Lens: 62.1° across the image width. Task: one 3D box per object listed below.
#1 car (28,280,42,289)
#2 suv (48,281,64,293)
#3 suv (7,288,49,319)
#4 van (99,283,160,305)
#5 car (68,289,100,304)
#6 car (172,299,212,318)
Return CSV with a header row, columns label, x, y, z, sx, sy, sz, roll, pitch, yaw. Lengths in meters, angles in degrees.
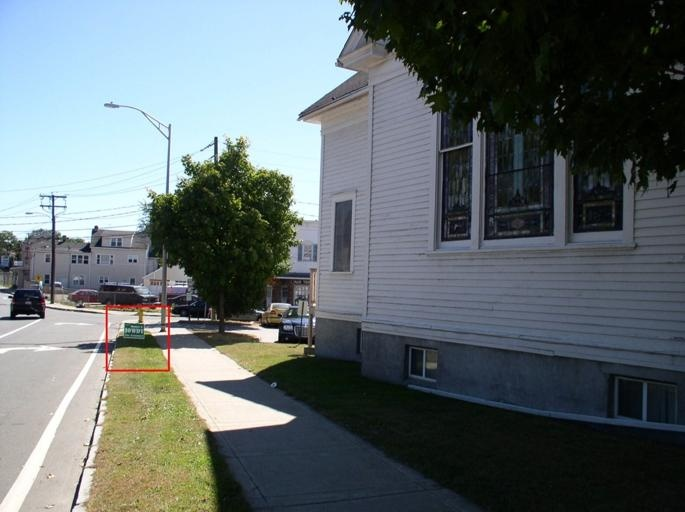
label,x,y,z,sx,sy,sz,roll,pitch,yaw
car,-38.996,3.562,72.210,1.414,1.034,1.486,1,-1,-1
suv,-36.916,3.930,73.475,1.758,1.775,3.082,3,-4,-30
suv,-19.942,3.000,36.033,1.773,1.833,2.553,4,-5,-33
van,-20.795,3.671,54.295,5.040,2.083,2.637,-1,-2,16
car,-27.817,4.279,61.134,2.700,1.318,3.366,4,-5,-27
car,-11.259,3.890,42.568,2.108,1.424,6.548,4,-5,-24
